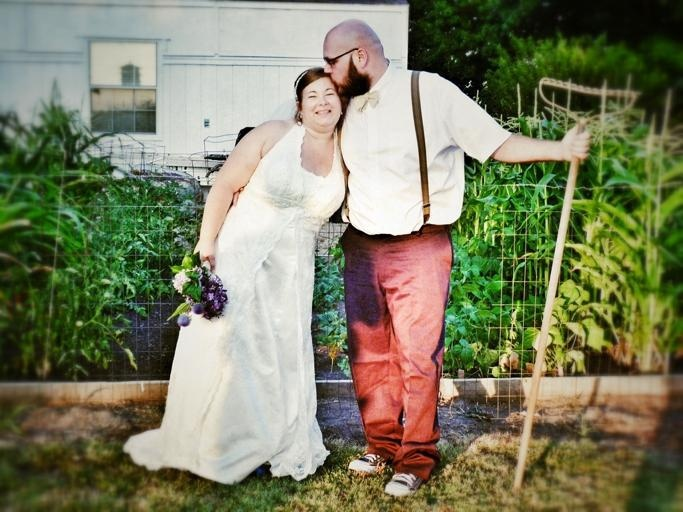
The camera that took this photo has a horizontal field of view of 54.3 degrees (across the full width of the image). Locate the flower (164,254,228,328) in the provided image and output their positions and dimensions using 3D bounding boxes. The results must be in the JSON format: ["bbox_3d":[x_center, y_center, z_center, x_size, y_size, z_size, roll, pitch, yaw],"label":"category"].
[{"bbox_3d":[-0.904,0.175,4.081,0.339,0.227,0.445,-18,43,-20],"label":"flower"}]

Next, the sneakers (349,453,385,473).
[{"bbox_3d":[0.168,1.302,4.187,0.194,0.084,0.114,6,50,-14],"label":"sneakers"}]
